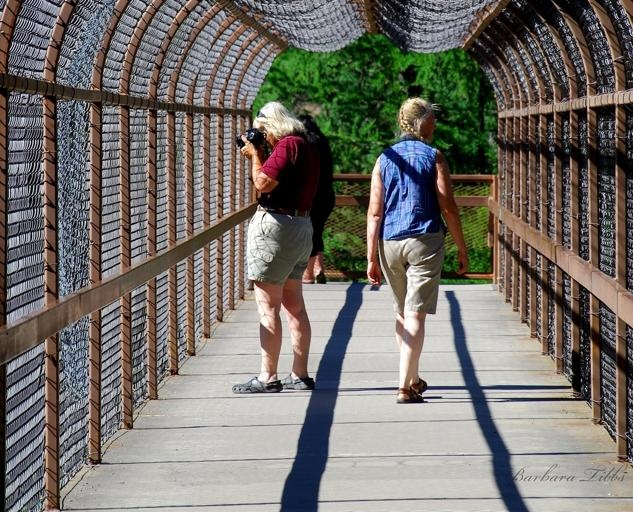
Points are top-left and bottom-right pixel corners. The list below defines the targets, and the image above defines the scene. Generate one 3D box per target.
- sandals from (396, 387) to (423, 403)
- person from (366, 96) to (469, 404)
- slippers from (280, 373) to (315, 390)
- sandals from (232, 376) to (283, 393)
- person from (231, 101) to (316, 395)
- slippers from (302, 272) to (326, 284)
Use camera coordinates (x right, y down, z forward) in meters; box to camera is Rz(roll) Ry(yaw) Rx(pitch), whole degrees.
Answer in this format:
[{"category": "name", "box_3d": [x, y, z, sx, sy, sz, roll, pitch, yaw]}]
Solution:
[{"category": "sandals", "box_3d": [0.536, 0.813, 7.256, 0.069, 0.072, 0.162, 2, 3, 34]}, {"category": "person", "box_3d": [0.584, -0.006, 7.173, 0.565, 1.769, 0.385, 0, 8, 6]}, {"category": "slippers", "box_3d": [-0.104, 0.769, 7.575, 0.219, 0.103, 0.084, 3, 0, 20]}, {"category": "sandals", "box_3d": [-0.359, 0.795, 7.527, 0.289, 0.116, 0.116, 2, -6, 10]}, {"category": "person", "box_3d": [-0.217, -0.010, 7.279, 0.501, 1.753, 0.504, -2, 8, -12]}, {"category": "slippers", "box_3d": [-0.029, 0.198, 10.900, 0.229, 0.150, 0.324, -2, -1, 2]}]
